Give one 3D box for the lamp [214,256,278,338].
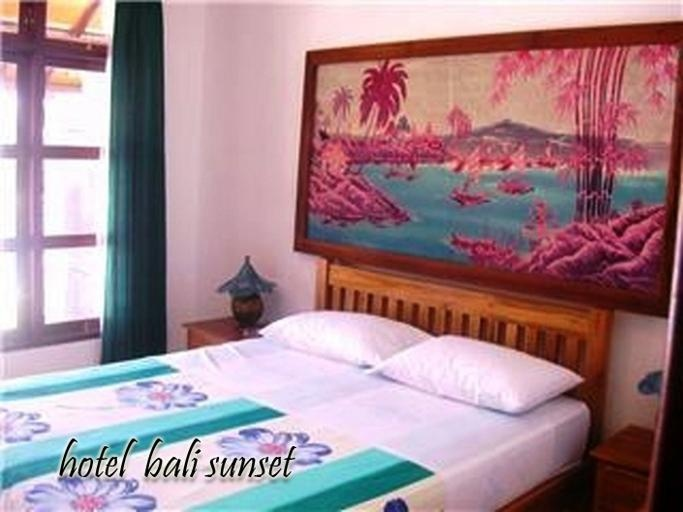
[{"bbox_3d":[-0.553,0.264,3.289,0.486,0.532,0.447,0,2,-24],"label":"lamp"}]
